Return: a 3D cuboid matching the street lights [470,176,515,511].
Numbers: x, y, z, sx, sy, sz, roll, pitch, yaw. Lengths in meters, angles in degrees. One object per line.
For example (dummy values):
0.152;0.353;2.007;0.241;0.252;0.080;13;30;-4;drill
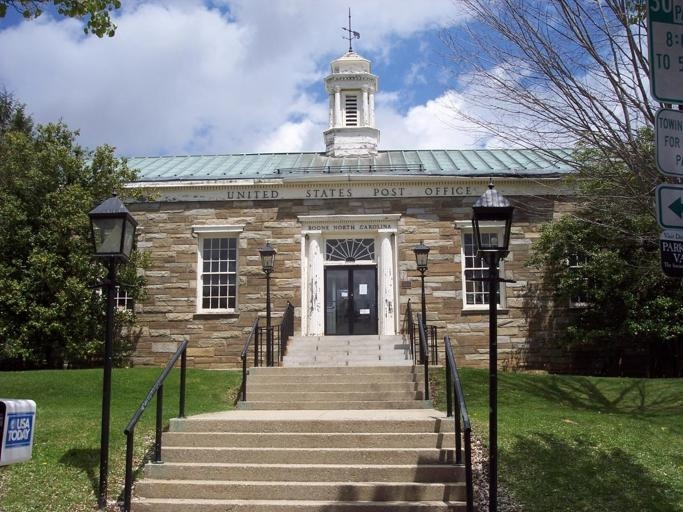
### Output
2.221;1.179;9.788;0.556;4.636;0.947;-2;-8;11;street lights
